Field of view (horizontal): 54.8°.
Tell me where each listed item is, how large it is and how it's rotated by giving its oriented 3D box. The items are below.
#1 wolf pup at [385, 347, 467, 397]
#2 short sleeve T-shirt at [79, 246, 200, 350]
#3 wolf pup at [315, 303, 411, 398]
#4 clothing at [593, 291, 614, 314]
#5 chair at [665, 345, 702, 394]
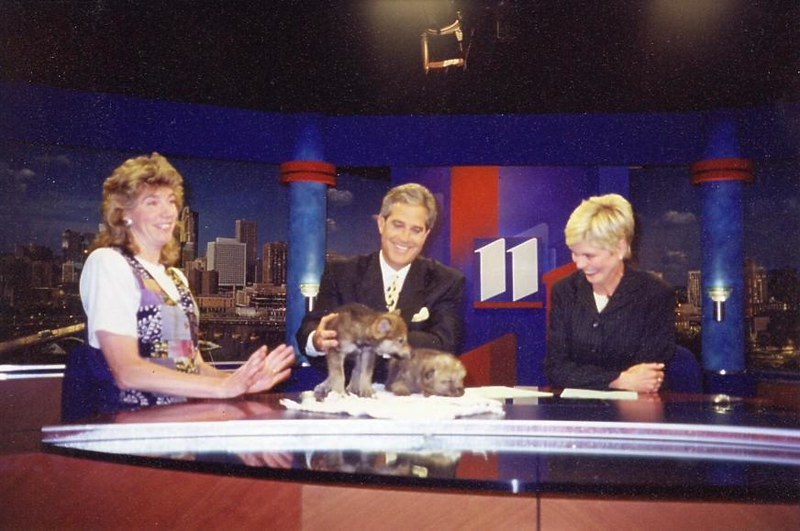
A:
[{"bbox_3d":[0.183,0.720,5.145,0.464,0.247,0.292,-6,-11,41],"label":"wolf pup"},{"bbox_3d":[-1.611,0.246,5.387,0.779,0.723,0.430,-3,-5,-33],"label":"short sleeve T-shirt"},{"bbox_3d":[-0.314,0.564,5.196,0.845,0.605,0.318,12,11,28],"label":"wolf pup"},{"bbox_3d":[1.561,0.288,5.978,0.143,0.111,0.148,11,-10,-30],"label":"clothing"},{"bbox_3d":[2.171,0.784,5.826,0.272,0.285,0.238,1,0,-37],"label":"chair"}]
